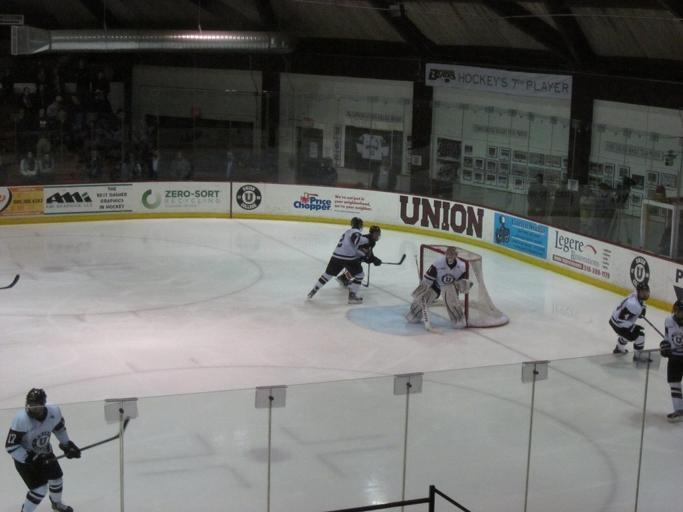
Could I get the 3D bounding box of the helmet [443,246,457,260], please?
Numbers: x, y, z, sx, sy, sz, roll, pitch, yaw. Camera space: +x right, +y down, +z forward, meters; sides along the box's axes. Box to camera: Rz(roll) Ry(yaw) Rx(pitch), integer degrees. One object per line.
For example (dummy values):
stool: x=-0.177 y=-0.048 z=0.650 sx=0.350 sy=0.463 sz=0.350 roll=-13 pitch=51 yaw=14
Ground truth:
helmet: x=1.852 y=-0.058 z=13.341 sx=0.190 sy=0.216 sz=0.209 roll=1 pitch=8 yaw=4

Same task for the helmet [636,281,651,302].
helmet: x=4.612 y=0.551 z=12.025 sx=0.176 sy=0.356 sz=0.562 roll=7 pitch=16 yaw=21

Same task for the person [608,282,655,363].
person: x=4.497 y=1.018 z=12.191 sx=0.571 sy=1.338 sz=0.594 roll=-19 pitch=29 yaw=-26

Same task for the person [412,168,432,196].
person: x=2.164 y=-2.018 z=21.515 sx=0.563 sy=0.504 sz=1.629 roll=3 pitch=15 yaw=4

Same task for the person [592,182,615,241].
person: x=5.464 y=-0.866 z=16.278 sx=0.406 sy=0.907 sz=0.810 roll=6 pitch=15 yaw=19

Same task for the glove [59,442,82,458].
glove: x=-2.730 y=1.931 z=7.870 sx=0.169 sy=0.170 sz=0.074 roll=34 pitch=14 yaw=15

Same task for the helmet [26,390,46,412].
helmet: x=-3.153 y=1.475 z=8.085 sx=0.183 sy=0.236 sz=0.244 roll=0 pitch=-12 yaw=-12

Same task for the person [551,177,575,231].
person: x=4.867 y=-1.091 z=17.228 sx=0.437 sy=0.867 sz=0.816 roll=2 pitch=15 yaw=3

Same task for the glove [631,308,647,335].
glove: x=4.708 y=1.033 z=12.418 sx=0.199 sy=0.164 sz=0.563 roll=-40 pitch=-20 yaw=1

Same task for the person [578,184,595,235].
person: x=5.214 y=-0.980 z=16.659 sx=0.334 sy=0.906 sz=0.689 roll=6 pitch=15 yaw=16
